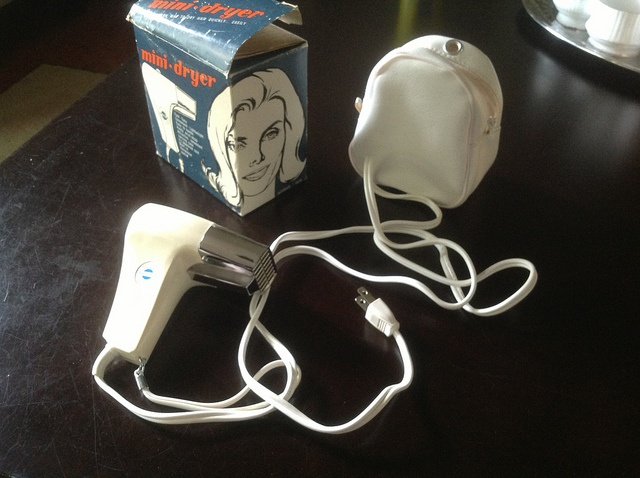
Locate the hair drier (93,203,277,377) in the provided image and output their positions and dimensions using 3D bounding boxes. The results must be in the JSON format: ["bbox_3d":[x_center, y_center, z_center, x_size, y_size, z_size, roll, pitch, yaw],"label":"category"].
[{"bbox_3d":[-0.154,0.019,0.740,0.154,0.162,0.200,-20,38,-30],"label":"hair drier"}]
